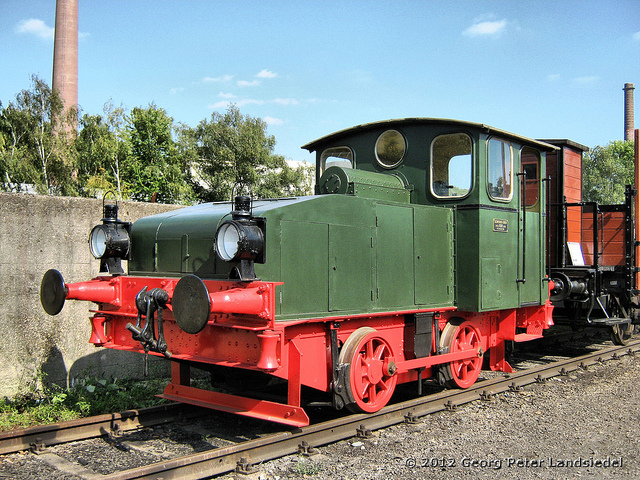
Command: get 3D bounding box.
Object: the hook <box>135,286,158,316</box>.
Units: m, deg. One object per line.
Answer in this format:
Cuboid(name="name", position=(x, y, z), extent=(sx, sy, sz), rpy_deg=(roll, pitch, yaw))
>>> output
Cuboid(name="hook", position=(-2.007, 0.707, 6.224), extent=(0.236, 0.108, 0.329), rpy_deg=(21, 16, -30))
